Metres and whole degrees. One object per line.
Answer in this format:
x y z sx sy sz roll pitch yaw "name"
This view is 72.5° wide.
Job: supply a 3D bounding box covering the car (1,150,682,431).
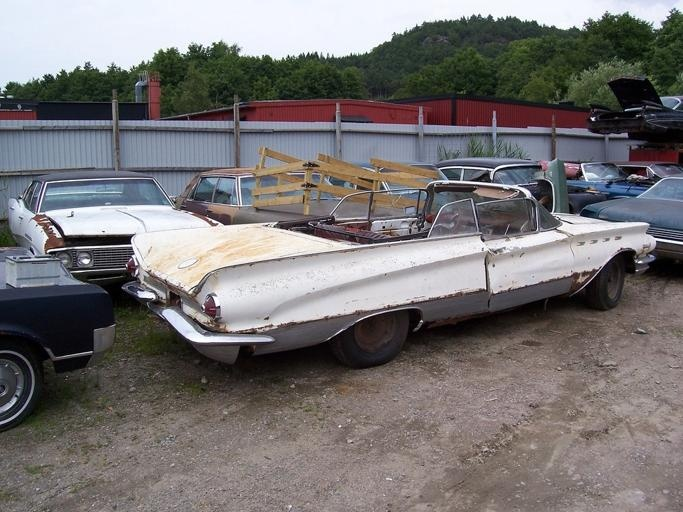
0.169 0.100 4.930 6.491 1.716 1.884 -7 15 -28 "car"
